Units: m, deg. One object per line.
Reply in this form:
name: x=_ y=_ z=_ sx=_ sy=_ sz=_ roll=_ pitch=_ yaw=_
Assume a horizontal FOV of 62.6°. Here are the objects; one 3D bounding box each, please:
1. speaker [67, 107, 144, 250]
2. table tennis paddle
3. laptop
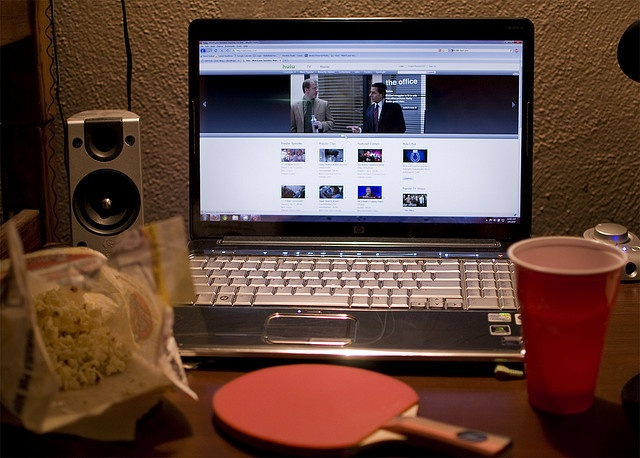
speaker: x=-0.295 y=-0.062 z=0.722 sx=0.097 sy=0.177 sz=0.052 roll=-3 pitch=16 yaw=-11
table tennis paddle: x=0.031 y=0.164 z=0.467 sx=0.257 sy=0.029 sz=0.106 roll=4 pitch=16 yaw=14
laptop: x=0.061 y=-0.080 z=0.820 sx=0.626 sy=0.401 sz=0.539 roll=1 pitch=16 yaw=4
